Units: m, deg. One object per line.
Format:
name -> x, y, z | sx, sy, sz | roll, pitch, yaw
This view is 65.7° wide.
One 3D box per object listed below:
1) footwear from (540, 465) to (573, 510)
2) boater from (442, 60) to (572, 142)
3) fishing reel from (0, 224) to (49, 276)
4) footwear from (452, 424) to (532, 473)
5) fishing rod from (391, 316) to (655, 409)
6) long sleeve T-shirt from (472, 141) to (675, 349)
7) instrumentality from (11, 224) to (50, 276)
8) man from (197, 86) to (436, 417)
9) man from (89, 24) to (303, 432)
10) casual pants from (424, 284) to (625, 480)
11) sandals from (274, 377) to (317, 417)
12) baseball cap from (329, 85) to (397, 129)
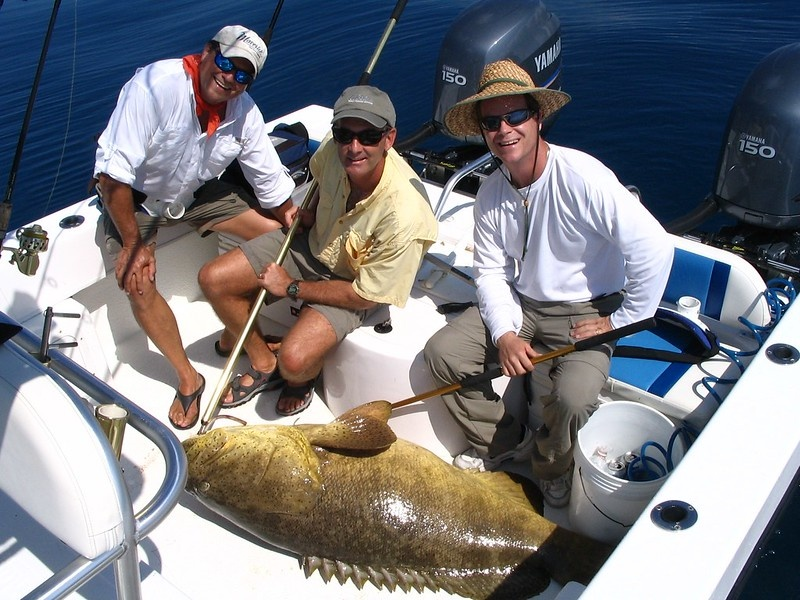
footwear -> 0.734, 0.839, 2.829 | 0.072, 0.203, 0.114 | 32, 30, -13
boater -> 0.490, -0.814, 2.792 | 0.442, 0.193, 0.459 | -18, -23, 25
fishing reel -> -1.591, -0.195, 2.631 | 0.143, 0.202, 0.176 | 13, 35, -15
footwear -> 0.447, 0.698, 2.994 | 0.420, 0.194, 0.141 | -10, 5, -14
fishing rod -> 0.560, 0.290, 2.787 | 1.248, 0.084, 0.067 | -21, -17, 30
long sleeve T-shirt -> 0.711, -0.200, 2.736 | 0.825, 0.822, 0.383 | 14, 20, 3
instrumentality -> -1.492, -0.192, 2.493 | 0.109, 0.223, 0.225 | -2, 24, -33
man -> -0.375, -0.217, 3.170 | 1.042, 1.632, 1.222 | 22, 39, 10
man -> -0.872, -0.418, 3.221 | 1.231, 1.600, 1.287 | -5, 40, -30
casual pants -> 0.574, 0.376, 2.779 | 0.507, 0.611, 0.492 | -36, 55, -26
sandals -> -0.580, 0.510, 3.246 | 0.125, 0.093, 0.324 | 12, 13, -4
baseball cap -> -0.165, -0.874, 2.882 | 0.286, 0.203, 0.390 | 4, 8, 0
